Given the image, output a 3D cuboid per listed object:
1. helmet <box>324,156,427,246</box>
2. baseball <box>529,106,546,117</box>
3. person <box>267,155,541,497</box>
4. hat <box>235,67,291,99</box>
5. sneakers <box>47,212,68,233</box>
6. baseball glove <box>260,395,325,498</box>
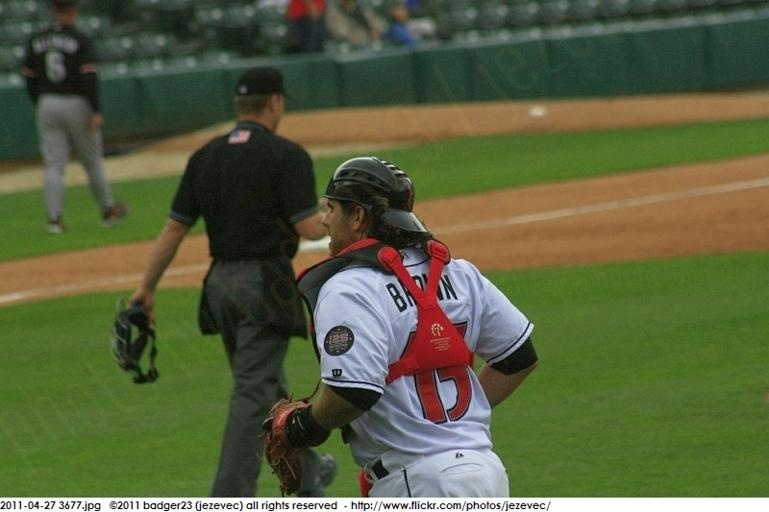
[{"bbox_3d":[0.020,-0.315,7.258,0.641,0.431,0.455,12,-3,15],"label":"helmet"},{"bbox_3d":[1.265,-1.167,9.948,0.125,0.077,0.030,-1,-20,-6],"label":"baseball"},{"bbox_3d":[0.057,0.441,7.088,1.357,1.957,0.909,1,18,24],"label":"person"},{"bbox_3d":[-0.843,-1.163,8.256,0.208,0.128,0.280,10,16,38],"label":"hat"},{"bbox_3d":[-2.342,-0.235,8.729,0.144,0.129,0.136,2,1,-3],"label":"sneakers"},{"bbox_3d":[-0.456,1.131,7.320,0.332,0.575,0.640,35,-10,5],"label":"baseball glove"}]
